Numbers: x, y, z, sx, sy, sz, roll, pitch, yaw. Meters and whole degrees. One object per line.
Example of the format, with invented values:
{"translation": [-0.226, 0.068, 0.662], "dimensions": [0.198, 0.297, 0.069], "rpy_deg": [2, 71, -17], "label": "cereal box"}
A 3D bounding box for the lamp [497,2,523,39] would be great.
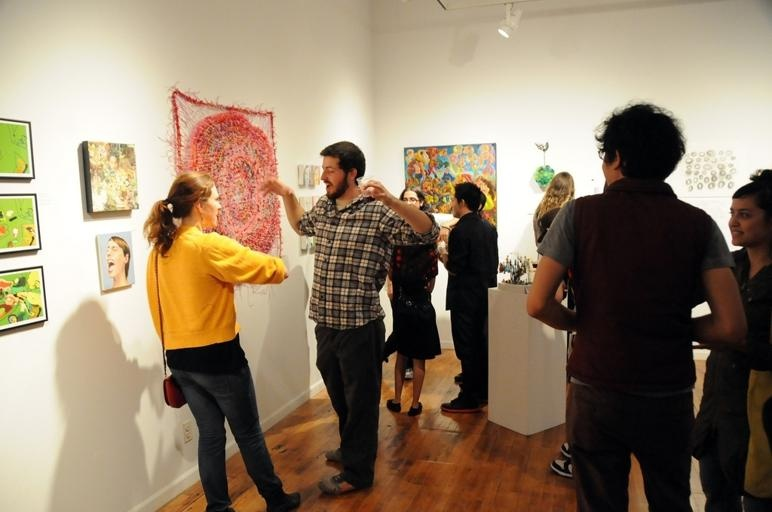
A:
{"translation": [1.403, -2.653, 5.957], "dimensions": [0.275, 0.417, 0.607], "rpy_deg": [1, 10, 13], "label": "lamp"}

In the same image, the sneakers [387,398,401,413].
{"translation": [0.074, 1.348, 4.799], "dimensions": [0.080, 0.086, 0.131], "rpy_deg": [3, 9, -44], "label": "sneakers"}

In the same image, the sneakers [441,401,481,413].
{"translation": [0.696, 1.362, 4.854], "dimensions": [0.349, 0.154, 0.139], "rpy_deg": [2, 1, 2], "label": "sneakers"}

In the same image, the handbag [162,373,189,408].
{"translation": [-1.353, 0.844, 3.325], "dimensions": [0.091, 0.190, 0.202], "rpy_deg": [-15, 1, -16], "label": "handbag"}

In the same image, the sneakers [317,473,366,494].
{"translation": [-0.314, 1.578, 3.723], "dimensions": [0.320, 0.137, 0.124], "rpy_deg": [7, 2, -8], "label": "sneakers"}
